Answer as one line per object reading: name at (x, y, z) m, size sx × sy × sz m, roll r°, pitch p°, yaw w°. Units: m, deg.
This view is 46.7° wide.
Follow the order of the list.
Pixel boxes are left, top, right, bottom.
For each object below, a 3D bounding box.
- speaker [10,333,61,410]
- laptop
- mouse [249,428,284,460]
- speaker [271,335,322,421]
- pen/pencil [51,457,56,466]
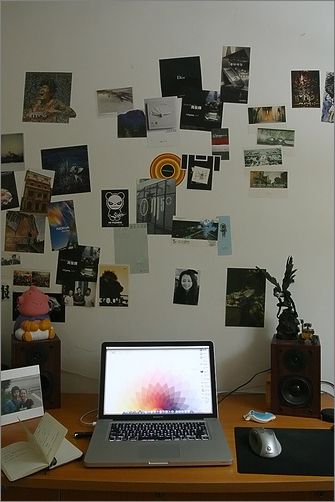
speaker at (-0.414, 0.394, 1.237) m, size 0.122 × 0.210 × 0.108 m, roll 0°, pitch -6°, yaw -24°
laptop at (-0.027, 0.364, 0.996) m, size 0.230 × 0.167 × 0.250 m, roll 0°, pitch -1°, yaw -1°
mouse at (0.236, 0.461, 0.929) m, size 0.078 × 0.039 × 0.083 m, roll 3°, pitch 6°, yaw 15°
speaker at (0.395, 0.369, 1.199) m, size 0.153 × 0.241 × 0.152 m, roll -4°, pitch 13°, yaw 2°
pen/pencil at (-0.253, 0.471, 0.856) m, size 0.008 × 0.007 × 0.012 m, roll 2°, pitch -5°, yaw -6°
